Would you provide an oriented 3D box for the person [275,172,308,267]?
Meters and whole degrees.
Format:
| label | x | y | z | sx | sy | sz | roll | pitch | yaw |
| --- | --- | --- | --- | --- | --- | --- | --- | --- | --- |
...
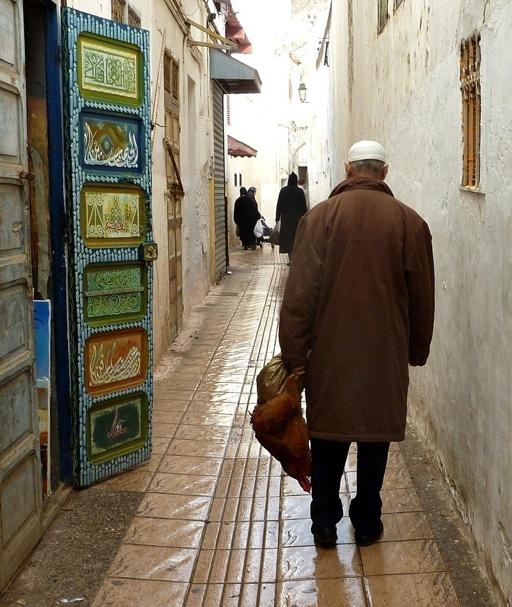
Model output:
| label | x | y | z | sx | sy | sz | roll | pitch | yaw |
| --- | --- | --- | --- | --- | --- | --- | --- | --- | --- |
| person | 0.796 | -2.004 | 12.110 | 0.496 | 2.757 | 0.733 | 2 | 12 | 2 |

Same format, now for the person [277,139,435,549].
| label | x | y | z | sx | sy | sz | roll | pitch | yaw |
| --- | --- | --- | --- | --- | --- | --- | --- | --- | --- |
| person | 0.386 | 0.255 | 2.408 | 0.517 | 1.791 | 0.849 | 3 | 12 | 0 |

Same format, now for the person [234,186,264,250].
| label | x | y | z | sx | sy | sz | roll | pitch | yaw |
| --- | --- | --- | --- | --- | --- | --- | --- | --- | --- |
| person | -0.337 | -3.421 | 22.101 | 1.129 | 2.346 | 1.069 | 3 | 9 | 17 |
